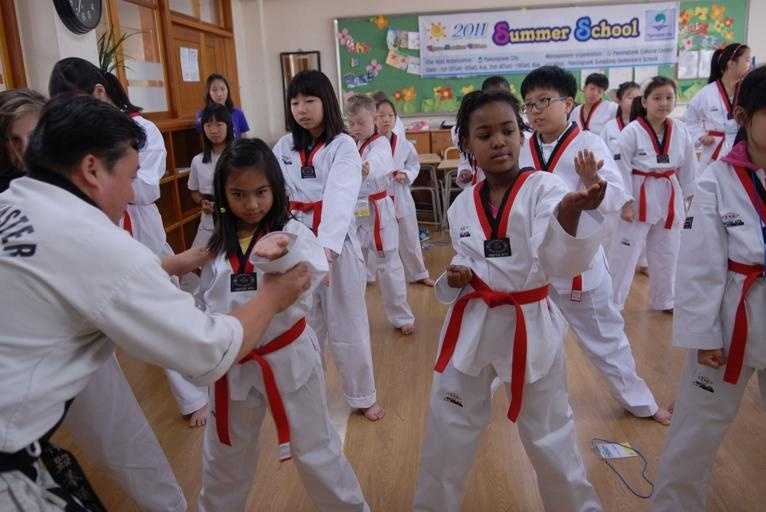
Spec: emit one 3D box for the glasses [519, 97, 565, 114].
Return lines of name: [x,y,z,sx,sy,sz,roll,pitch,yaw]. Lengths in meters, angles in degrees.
glasses: [0.791,-0.742,2.670,0.190,0.069,0.066,1,16,16]

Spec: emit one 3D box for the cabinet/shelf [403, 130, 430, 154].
cabinet/shelf: [0.470,-1.588,7.852,0.406,0.413,0.295,0,8,1]
